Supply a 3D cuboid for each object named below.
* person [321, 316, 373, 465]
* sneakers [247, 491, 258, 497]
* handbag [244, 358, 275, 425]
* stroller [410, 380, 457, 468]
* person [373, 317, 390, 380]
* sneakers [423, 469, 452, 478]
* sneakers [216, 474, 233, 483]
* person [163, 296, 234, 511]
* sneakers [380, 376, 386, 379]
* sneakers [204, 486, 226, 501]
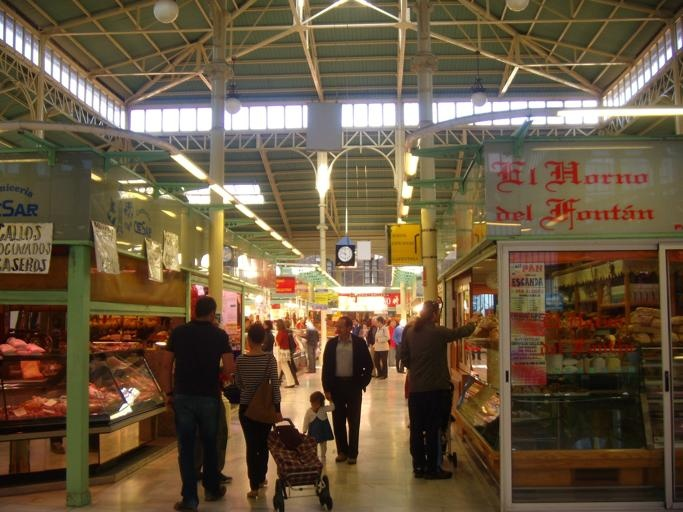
[{"bbox_3d":[0.073,1.741,8.142,0.671,1.884,0.431,0,-5,-10],"label":"person"},{"bbox_3d":[-0.969,2.593,6.809,0.125,0.052,0.045,-1,-9,29],"label":"sneakers"},{"bbox_3d":[-0.824,1.430,6.694,0.308,0.664,0.157,7,-16,2],"label":"handbag"},{"bbox_3d":[1.054,2.055,7.381,0.497,1.145,0.406,-2,-5,9],"label":"stroller"},{"bbox_3d":[1.101,2.618,17.900,0.422,1.735,1.238,-1,-5,3],"label":"person"},{"bbox_3d":[1.137,2.595,7.446,0.307,0.132,0.115,0,-5,0],"label":"sneakers"},{"bbox_3d":[-1.369,2.633,7.372,0.151,0.068,0.055,2,-5,-9],"label":"sneakers"},{"bbox_3d":[-1.502,1.542,6.593,0.651,2.213,0.471,1,-6,-24],"label":"person"},{"bbox_3d":[1.160,3.396,17.506,0.146,0.106,0.430,-2,-6,8],"label":"sneakers"},{"bbox_3d":[-1.376,2.595,6.888,0.108,0.189,0.264,2,1,19],"label":"sneakers"}]
